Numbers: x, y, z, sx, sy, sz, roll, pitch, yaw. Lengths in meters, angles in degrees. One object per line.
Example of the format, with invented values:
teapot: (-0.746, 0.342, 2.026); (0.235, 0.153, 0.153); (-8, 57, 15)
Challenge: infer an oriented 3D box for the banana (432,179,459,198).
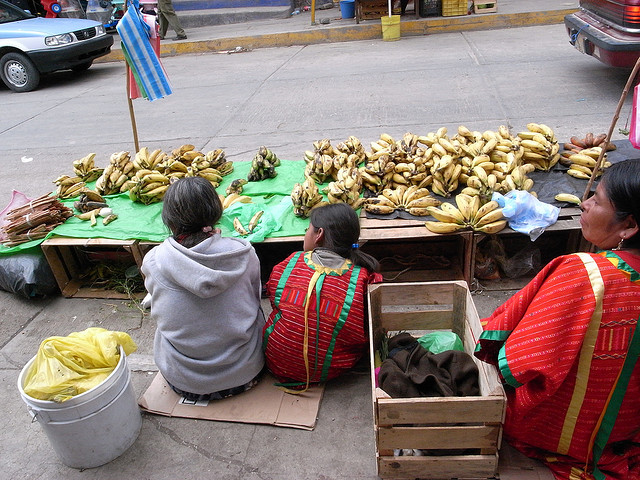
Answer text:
banana: (1.140, -0.473, 4.327); (0.179, 0.172, 0.057); (0, -9, -11)

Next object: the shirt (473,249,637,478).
shirt: (1.385, 0.701, 2.582); (0.861, 1.283, 0.490); (8, 34, 20)

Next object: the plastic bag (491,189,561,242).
plastic bag: (1.710, -0.224, 3.932); (0.535, 0.285, 0.365); (13, 35, 28)

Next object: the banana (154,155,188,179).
banana: (-1.618, -0.803, 5.045); (0.299, 0.116, 0.235); (13, -7, 33)

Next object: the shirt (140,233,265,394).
shirt: (-0.813, 0.472, 3.399); (0.862, 1.096, 0.927); (-4, 16, -17)

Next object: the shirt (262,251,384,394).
shirt: (-0.011, 0.558, 3.354); (0.861, 0.875, 0.510); (-11, 31, -9)

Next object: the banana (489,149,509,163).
banana: (1.750, -0.809, 4.554); (0.186, 0.142, 0.067); (-4, -15, 33)

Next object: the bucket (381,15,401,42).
bucket: (1.742, -5.385, 12.065); (0.630, 0.652, 0.608); (-4, 34, 2)

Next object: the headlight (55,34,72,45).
headlight: (-5.614, -4.386, 10.252); (0.040, 0.183, 0.338); (15, 36, 30)

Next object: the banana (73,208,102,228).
banana: (-2.253, -0.208, 4.546); (0.245, 0.087, 0.073); (-28, 47, -18)
